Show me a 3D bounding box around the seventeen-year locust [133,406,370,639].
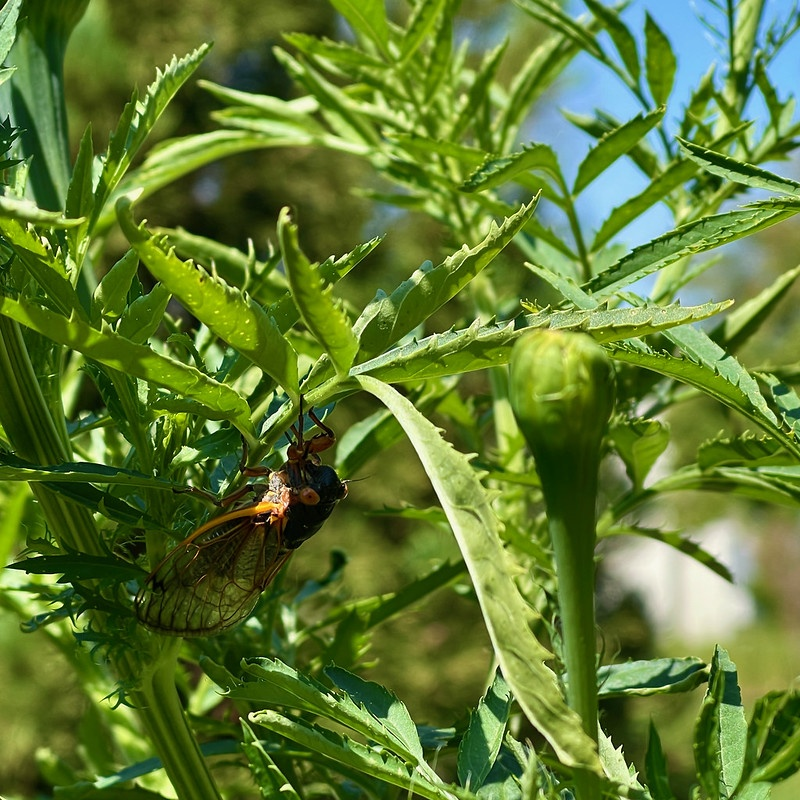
[{"bbox_3d":[-0.156,0.092,0.927,0.057,0.134,0.187,24,56,37],"label":"seventeen-year locust"}]
